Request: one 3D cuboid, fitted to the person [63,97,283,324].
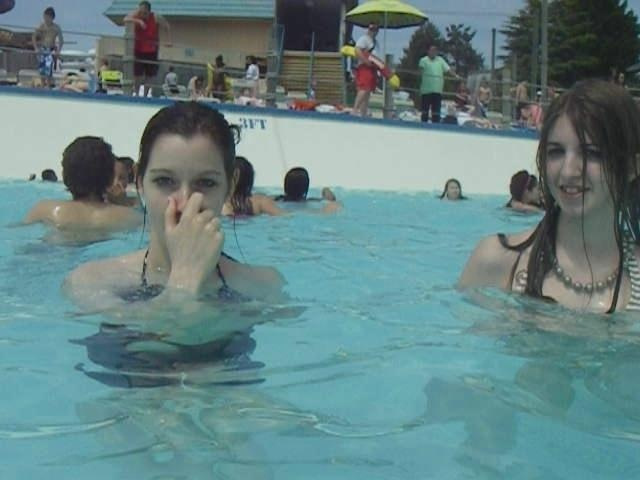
[{"bbox_3d":[-0.634,-0.099,3.208,1.058,0.995,0.655,-2,1,-21],"label":"person"}]

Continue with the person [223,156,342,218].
[{"bbox_3d":[-0.483,-0.425,6.876,0.937,0.493,0.672,-10,13,-38],"label":"person"}]

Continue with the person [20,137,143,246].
[{"bbox_3d":[-2.035,-0.388,5.812,1.122,0.866,0.490,0,24,-15],"label":"person"}]
